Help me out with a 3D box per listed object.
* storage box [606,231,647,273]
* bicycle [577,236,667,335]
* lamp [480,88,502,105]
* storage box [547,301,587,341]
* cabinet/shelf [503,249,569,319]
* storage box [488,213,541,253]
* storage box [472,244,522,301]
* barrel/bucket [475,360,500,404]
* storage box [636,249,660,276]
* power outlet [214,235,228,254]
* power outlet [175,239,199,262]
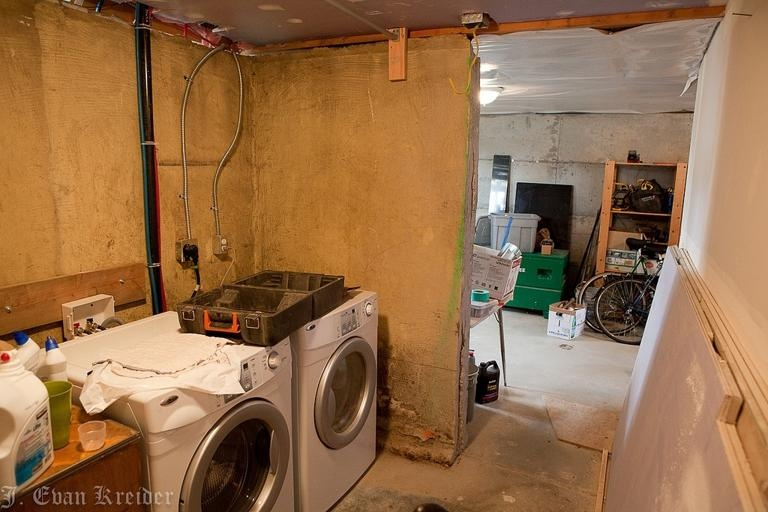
[{"bbox_3d":[2.855,-0.073,6.106,0.408,0.517,0.377,9,24,21],"label":"storage box"},{"bbox_3d":[2.925,0.442,6.119,0.917,1.194,2.156,3,-6,32],"label":"bicycle"},{"bbox_3d":[0.993,-1.519,4.849,0.265,0.100,0.253,-1,0,-5],"label":"lamp"},{"bbox_3d":[2.089,0.726,5.818,0.324,0.372,0.410,10,12,32],"label":"storage box"},{"bbox_3d":[1.843,0.394,6.666,0.990,0.768,0.550,10,-6,31],"label":"cabinet/shelf"},{"bbox_3d":[1.645,-0.296,6.494,0.724,0.467,0.500,2,13,10],"label":"storage box"},{"bbox_3d":[0.958,0.146,4.403,0.395,0.475,0.329,5,11,9],"label":"storage box"},{"bbox_3d":[0.885,1.073,4.306,0.220,0.330,0.172,4,11,3],"label":"barrel/bucket"},{"bbox_3d":[2.987,0.082,5.764,0.271,0.245,0.254,19,1,11],"label":"storage box"},{"bbox_3d":[-1.145,-0.075,3.553,0.047,0.142,0.124,8,11,24],"label":"power outlet"},{"bbox_3d":[-1.287,-0.030,3.319,0.065,0.163,0.160,11,13,36],"label":"power outlet"}]
